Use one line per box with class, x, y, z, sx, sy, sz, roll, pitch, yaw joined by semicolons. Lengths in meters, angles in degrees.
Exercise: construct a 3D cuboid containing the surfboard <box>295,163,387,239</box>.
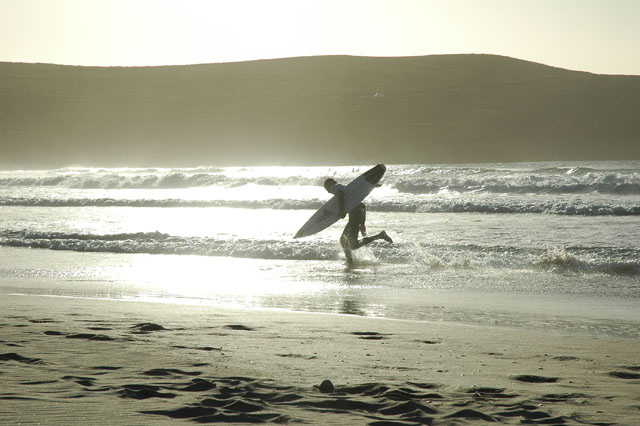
surfboard;1.177;-0.549;71.513;6.711;1.543;0.737;-34;5;10
